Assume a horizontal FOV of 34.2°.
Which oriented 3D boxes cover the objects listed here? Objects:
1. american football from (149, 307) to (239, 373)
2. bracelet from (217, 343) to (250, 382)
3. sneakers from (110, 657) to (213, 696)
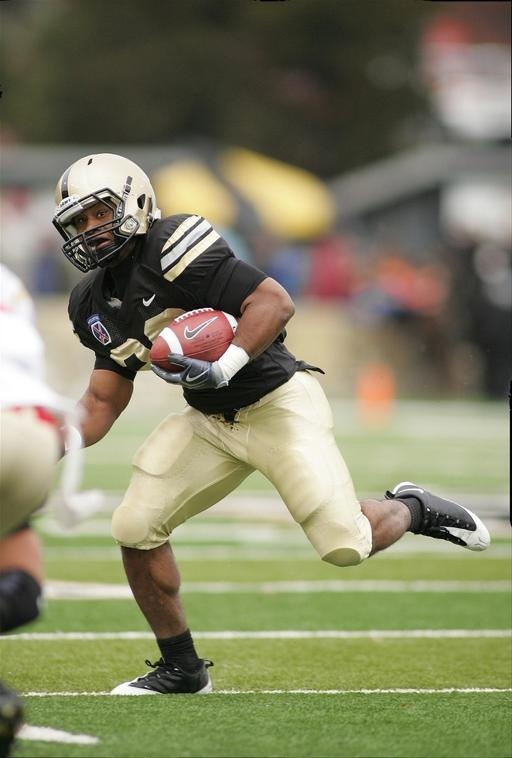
[{"bbox_3d":[-0.154,-0.100,2.155,0.242,0.122,0.127,-16,4,-18],"label":"american football"},{"bbox_3d":[-0.059,-0.045,2.090,0.065,0.102,0.041,40,2,-10],"label":"bracelet"},{"bbox_3d":[-0.239,0.801,2.257,0.308,0.092,0.093,3,-7,-12],"label":"sneakers"}]
